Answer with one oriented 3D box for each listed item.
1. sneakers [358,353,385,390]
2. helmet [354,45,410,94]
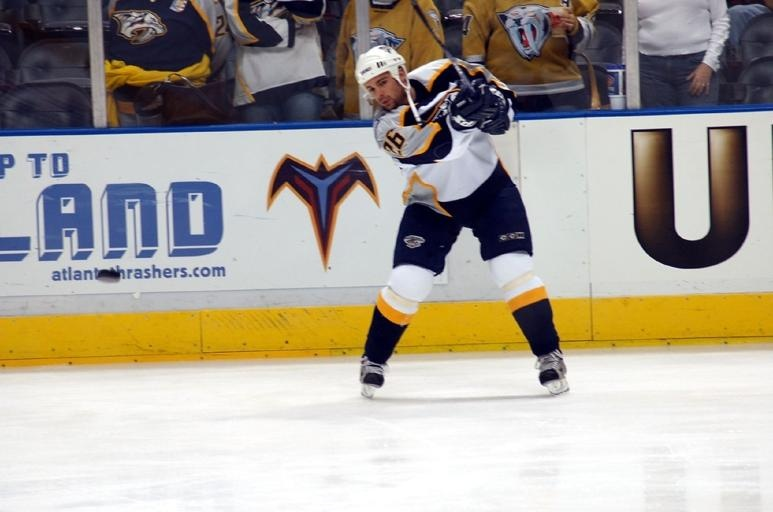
[{"bbox_3d":[-0.051,0.643,7.624,0.180,0.153,0.118,0,-6,1],"label":"sneakers"},{"bbox_3d":[-0.033,-1.029,7.582,0.226,0.226,0.271,-11,20,46],"label":"helmet"}]
